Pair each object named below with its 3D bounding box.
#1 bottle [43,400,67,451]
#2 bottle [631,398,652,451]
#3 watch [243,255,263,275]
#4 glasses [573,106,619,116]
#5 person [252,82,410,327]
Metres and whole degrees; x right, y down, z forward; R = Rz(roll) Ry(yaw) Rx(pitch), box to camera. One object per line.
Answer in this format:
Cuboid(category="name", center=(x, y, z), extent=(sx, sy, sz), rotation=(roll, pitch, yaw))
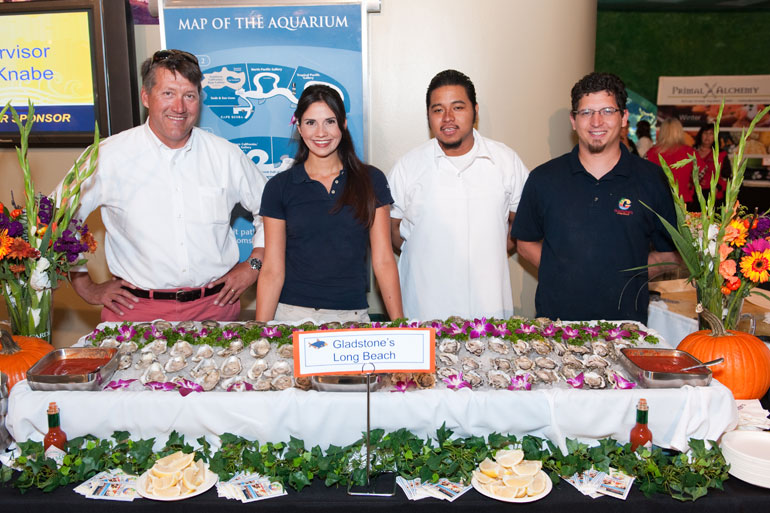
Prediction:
Cuboid(category="bottle", center=(-1.257, 0.638, 2.364), extent=(0.081, 0.180, 0.079), rotation=(-2, 11, 0))
Cuboid(category="bottle", center=(0.974, 0.628, 2.362), extent=(0.091, 0.197, 0.075), rotation=(0, 11, 11))
Cuboid(category="watch", center=(-0.716, 0.050, 3.388), extent=(0.092, 0.094, 0.027), rotation=(5, -2, -1))
Cuboid(category="glasses", center=(1.072, -0.733, 3.161), extent=(0.203, 0.041, 0.048), rotation=(2, 12, 16))
Cuboid(category="person", center=(-0.304, -0.260, 3.178), extent=(0.731, 1.191, 0.357), rotation=(-2, 11, -2))
